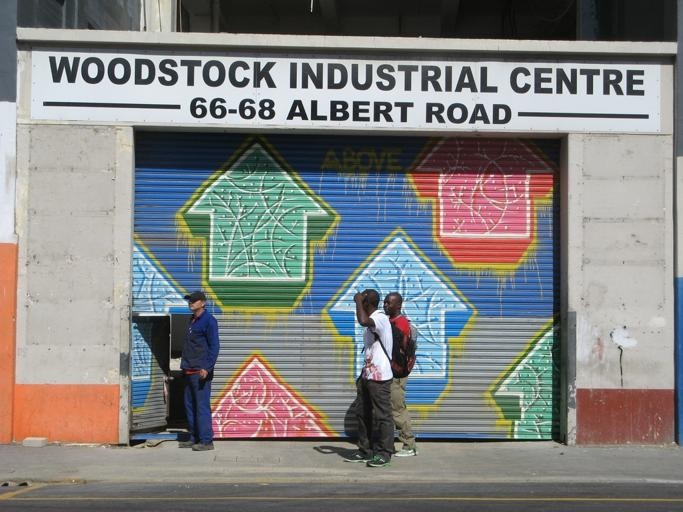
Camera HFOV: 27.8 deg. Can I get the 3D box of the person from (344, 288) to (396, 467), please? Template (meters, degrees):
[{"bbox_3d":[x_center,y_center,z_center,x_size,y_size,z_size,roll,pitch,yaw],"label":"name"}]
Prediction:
[{"bbox_3d":[0.451,1.818,20.296,0.622,2.484,0.916,0,15,0],"label":"person"}]

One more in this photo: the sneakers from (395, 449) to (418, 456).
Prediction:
[{"bbox_3d":[0.970,2.969,20.964,0.341,0.144,0.117,2,-4,-11],"label":"sneakers"}]

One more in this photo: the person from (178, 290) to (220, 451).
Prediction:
[{"bbox_3d":[-2.212,1.782,21.137,0.603,2.330,0.800,0,15,-1],"label":"person"}]

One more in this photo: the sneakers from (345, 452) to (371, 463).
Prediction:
[{"bbox_3d":[0.220,2.987,20.505,0.410,0.170,0.147,4,-2,-1],"label":"sneakers"}]

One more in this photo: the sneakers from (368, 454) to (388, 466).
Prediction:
[{"bbox_3d":[0.534,2.984,20.174,0.391,0.166,0.126,4,-5,-8],"label":"sneakers"}]

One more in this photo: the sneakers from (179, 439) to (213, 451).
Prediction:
[{"bbox_3d":[-2.265,2.901,21.147,0.365,0.151,0.199,12,-10,-11],"label":"sneakers"}]
